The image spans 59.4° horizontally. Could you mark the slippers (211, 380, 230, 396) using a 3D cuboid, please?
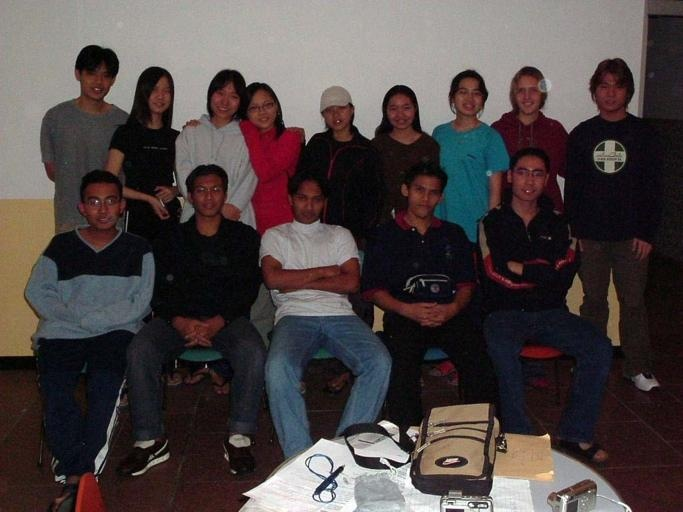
[{"bbox_3d":[-0.814,0.906,4.096,0.098,0.029,0.093,0,49,3],"label":"slippers"}]

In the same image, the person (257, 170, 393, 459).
[{"bbox_3d":[-0.108,0.263,3.300,0.672,1.368,0.854,-4,14,-8],"label":"person"}]

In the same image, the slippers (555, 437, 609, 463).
[{"bbox_3d":[1.320,1.078,3.311,0.261,0.067,0.097,11,61,20],"label":"slippers"}]

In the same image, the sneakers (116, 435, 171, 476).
[{"bbox_3d":[-1.060,1.078,3.274,0.114,0.125,0.293,9,10,30],"label":"sneakers"}]

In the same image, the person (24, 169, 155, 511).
[{"bbox_3d":[-1.418,0.364,3.228,0.580,1.576,0.885,1,14,11],"label":"person"}]

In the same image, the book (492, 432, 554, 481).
[{"bbox_3d":[0.718,0.771,2.358,0.170,0.024,0.176,2,31,15],"label":"book"}]

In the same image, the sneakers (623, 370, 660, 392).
[{"bbox_3d":[2.067,0.853,4.114,0.107,0.044,0.146,-7,21,10],"label":"sneakers"}]

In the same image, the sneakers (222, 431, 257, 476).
[{"bbox_3d":[-0.536,1.074,3.231,0.109,0.115,0.285,-3,16,-17],"label":"sneakers"}]

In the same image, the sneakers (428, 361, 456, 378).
[{"bbox_3d":[0.731,0.826,4.354,0.315,0.080,0.130,-2,7,-9],"label":"sneakers"}]

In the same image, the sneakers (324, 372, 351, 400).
[{"bbox_3d":[-0.036,0.890,4.144,0.192,0.062,0.110,-38,30,-22],"label":"sneakers"}]

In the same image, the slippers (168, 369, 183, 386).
[{"bbox_3d":[-1.173,0.865,4.249,0.092,0.041,0.119,1,45,-12],"label":"slippers"}]
